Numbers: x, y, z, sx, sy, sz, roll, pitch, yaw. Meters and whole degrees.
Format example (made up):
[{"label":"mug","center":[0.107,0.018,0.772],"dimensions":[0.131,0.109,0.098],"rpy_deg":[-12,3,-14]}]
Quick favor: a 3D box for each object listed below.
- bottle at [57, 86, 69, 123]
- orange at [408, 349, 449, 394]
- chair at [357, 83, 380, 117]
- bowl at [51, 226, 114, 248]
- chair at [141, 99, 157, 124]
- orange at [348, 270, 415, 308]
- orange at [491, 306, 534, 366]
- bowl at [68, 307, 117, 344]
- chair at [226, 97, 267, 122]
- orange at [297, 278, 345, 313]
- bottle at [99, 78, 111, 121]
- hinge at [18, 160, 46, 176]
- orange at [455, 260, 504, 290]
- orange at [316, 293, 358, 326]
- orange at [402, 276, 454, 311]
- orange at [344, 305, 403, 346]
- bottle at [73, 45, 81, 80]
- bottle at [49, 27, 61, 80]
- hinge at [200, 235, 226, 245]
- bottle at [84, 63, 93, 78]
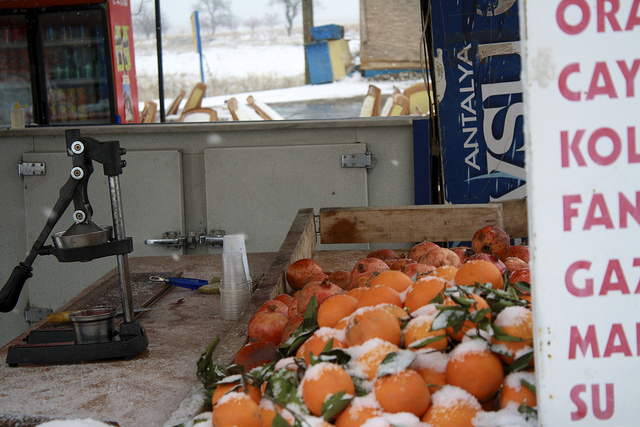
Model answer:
[{"label":"bottle","center":[-2.393,-1.017,5.309],"dimensions":[0.089,0.329,0.060],"rpy_deg":[-5,6,-26]},{"label":"orange","center":[0.208,0.320,1.116],"dimensions":[0.073,0.093,0.075],"rpy_deg":[-17,-28,37]},{"label":"chair","center":[0.462,-1.081,5.440],"dimensions":[0.206,0.308,0.252],"rpy_deg":[-2,5,3]},{"label":"bowl","center":[-0.660,0.068,1.623],"dimensions":[0.183,0.048,0.138],"rpy_deg":[-7,7,-40]},{"label":"chair","center":[-1.792,-1.078,5.986],"dimensions":[0.168,0.253,0.379],"rpy_deg":[-4,5,-16]},{"label":"orange","center":[0.130,0.147,1.221],"dimensions":[0.066,0.056,0.118],"rpy_deg":[-1,16,43]},{"label":"orange","center":[0.367,0.230,1.059],"dimensions":[0.094,0.118,0.091],"rpy_deg":[10,-10,-39]},{"label":"bowl","center":[-0.639,0.322,1.606],"dimensions":[0.099,0.067,0.105],"rpy_deg":[-2,-4,0]},{"label":"chair","center":[-0.703,-0.976,5.266],"dimensions":[0.196,0.231,0.374],"rpy_deg":[-6,6,-37]},{"label":"orange","center":[-0.005,0.201,1.432],"dimensions":[0.089,0.107,0.080],"rpy_deg":[-12,-5,-14]},{"label":"bottle","center":[-1.982,-1.054,5.245],"dimensions":[0.071,0.387,0.206],"rpy_deg":[-5,6,-28]},{"label":"hinge","center":[-1.881,-0.293,3.730],"dimensions":[0.179,0.103,0.035],"rpy_deg":[-1,5,12]},{"label":"orange","center":[0.325,0.127,1.182],"dimensions":[0.078,0.083,0.079],"rpy_deg":[3,3,-6]},{"label":"orange","center":[0.030,0.208,1.201],"dimensions":[0.065,0.066,0.064],"rpy_deg":[-24,-3,-22]},{"label":"orange","center":[0.215,0.150,1.144],"dimensions":[0.071,0.076,0.074],"rpy_deg":[-7,2,10]},{"label":"orange","center":[0.100,0.218,1.088],"dimensions":[0.080,0.083,0.079],"rpy_deg":[-1,-9,-3]},{"label":"bottle","center":[-2.225,-1.383,5.213],"dimensions":[0.056,0.284,0.050],"rpy_deg":[2,7,42]},{"label":"bottle","center":[-2.409,-1.448,5.174],"dimensions":[0.073,0.454,0.061],"rpy_deg":[-6,6,-35]},{"label":"hinge","center":[-0.717,0.183,3.775],"dimensions":[0.175,0.063,0.064],"rpy_deg":[0,5,23]},{"label":"bottle","center":[-2.124,-1.316,5.244],"dimensions":[0.080,0.125,0.020],"rpy_deg":[-2,5,1]}]
